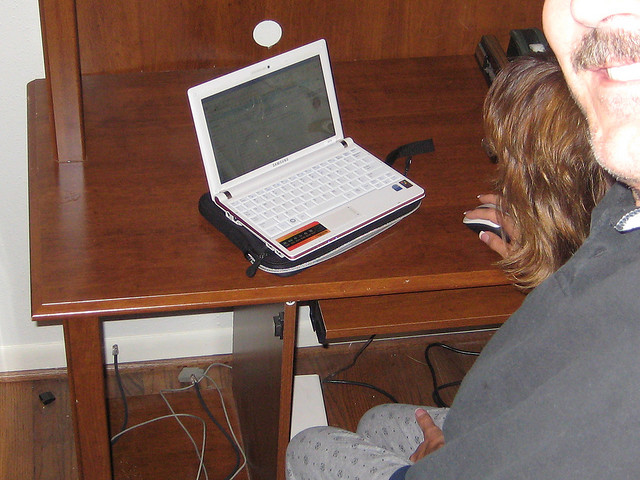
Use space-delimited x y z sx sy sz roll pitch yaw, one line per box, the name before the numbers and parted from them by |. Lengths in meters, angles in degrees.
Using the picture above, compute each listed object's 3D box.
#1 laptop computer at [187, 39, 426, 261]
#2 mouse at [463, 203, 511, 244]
laptop computer | -0.017 -0.195 1.234 0.383 0.232 0.344 -26 48 -33
mouse | 0.344 -0.036 1.294 0.099 0.032 0.057 28 36 17
